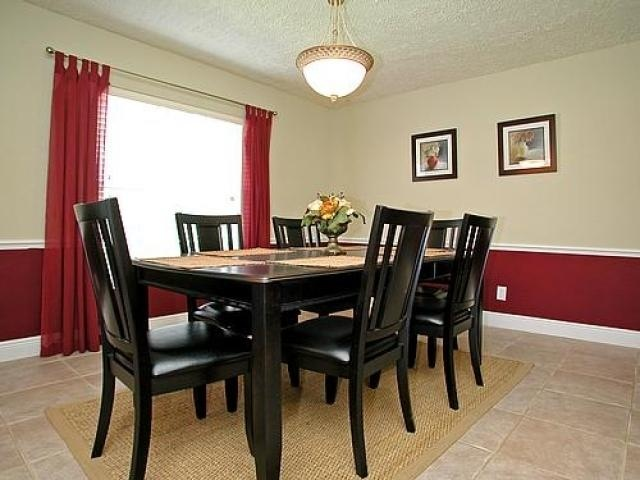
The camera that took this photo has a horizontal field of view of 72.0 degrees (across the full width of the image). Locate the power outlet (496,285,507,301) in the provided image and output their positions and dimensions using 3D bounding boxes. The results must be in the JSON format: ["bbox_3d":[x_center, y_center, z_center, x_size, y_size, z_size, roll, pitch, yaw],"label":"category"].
[{"bbox_3d":[1.932,0.564,4.651,0.113,0.157,0.047,6,13,28],"label":"power outlet"}]

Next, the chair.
[{"bbox_3d":[-0.216,0.612,2.643,1.020,0.889,1.716,3,2,39],"label":"chair"}]

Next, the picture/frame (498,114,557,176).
[{"bbox_3d":[2.148,-0.975,4.474,0.686,0.781,0.061,0,0,43],"label":"picture/frame"}]
